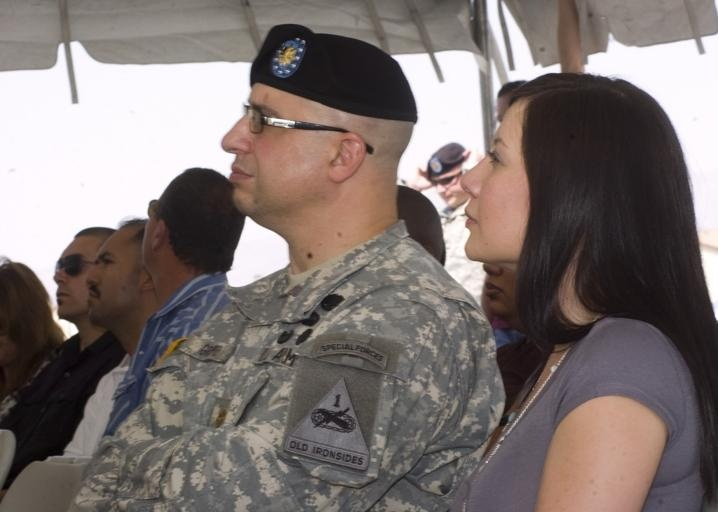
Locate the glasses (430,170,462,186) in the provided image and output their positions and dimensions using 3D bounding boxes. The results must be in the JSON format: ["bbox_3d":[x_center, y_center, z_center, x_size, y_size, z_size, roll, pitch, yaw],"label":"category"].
[{"bbox_3d":[0.714,-0.603,5.785,0.232,0.100,0.182,-22,-7,35],"label":"glasses"}]

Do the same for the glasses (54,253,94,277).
[{"bbox_3d":[-1.862,0.049,4.664,0.165,0.076,0.176,1,-7,22],"label":"glasses"}]

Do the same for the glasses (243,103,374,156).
[{"bbox_3d":[-0.200,-0.406,2.260,0.237,0.072,0.201,7,3,4],"label":"glasses"}]
